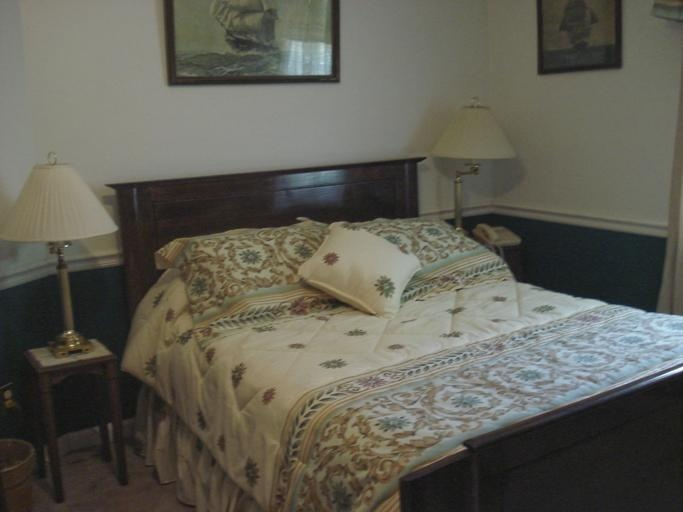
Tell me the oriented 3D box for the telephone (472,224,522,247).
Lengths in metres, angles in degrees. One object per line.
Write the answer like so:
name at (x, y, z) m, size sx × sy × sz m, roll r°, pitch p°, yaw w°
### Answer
telephone at (1.111, -0.122, 4.048) m, size 0.261 × 0.067 × 0.198 m, roll -7°, pitch 28°, yaw -22°
